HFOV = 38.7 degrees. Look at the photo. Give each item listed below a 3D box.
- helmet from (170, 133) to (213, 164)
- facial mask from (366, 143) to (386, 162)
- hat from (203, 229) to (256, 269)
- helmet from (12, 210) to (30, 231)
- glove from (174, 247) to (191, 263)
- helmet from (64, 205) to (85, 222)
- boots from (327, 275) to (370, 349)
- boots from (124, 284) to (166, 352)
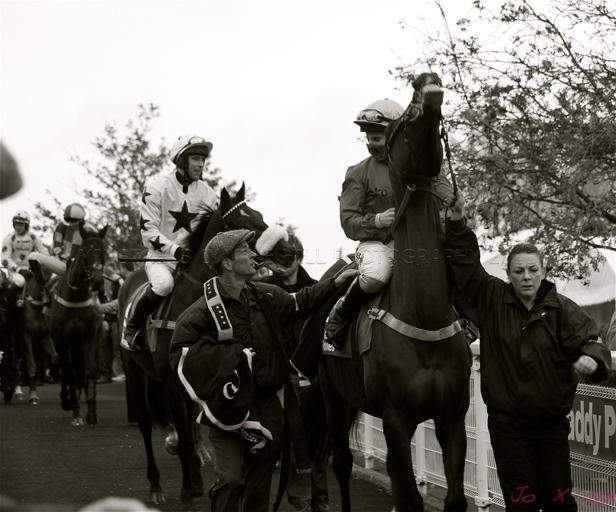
[{"bbox_3d":[-1.046,-0.950,7.941,0.493,0.207,0.288,-11,-15,40],"label":"helmet"},{"bbox_3d":[0.464,-0.711,5.932,0.139,0.103,0.183,-3,34,-13],"label":"facial mask"},{"bbox_3d":[-0.524,-0.069,5.708,0.302,0.170,0.217,-41,3,3],"label":"hat"},{"bbox_3d":[-4.955,-0.612,15.106,0.267,0.282,0.395,3,-12,-22],"label":"helmet"},{"bbox_3d":[-1.090,-0.005,7.608,0.098,0.140,0.130,0,22,-6],"label":"glove"},{"bbox_3d":[-3.341,-0.610,12.515,0.283,0.316,0.433,2,-12,-16],"label":"helmet"},{"bbox_3d":[0.264,0.383,5.993,0.158,0.458,0.337,34,37,9],"label":"boots"},{"bbox_3d":[-1.532,0.572,7.916,0.160,0.632,0.361,2,28,-38],"label":"boots"}]
